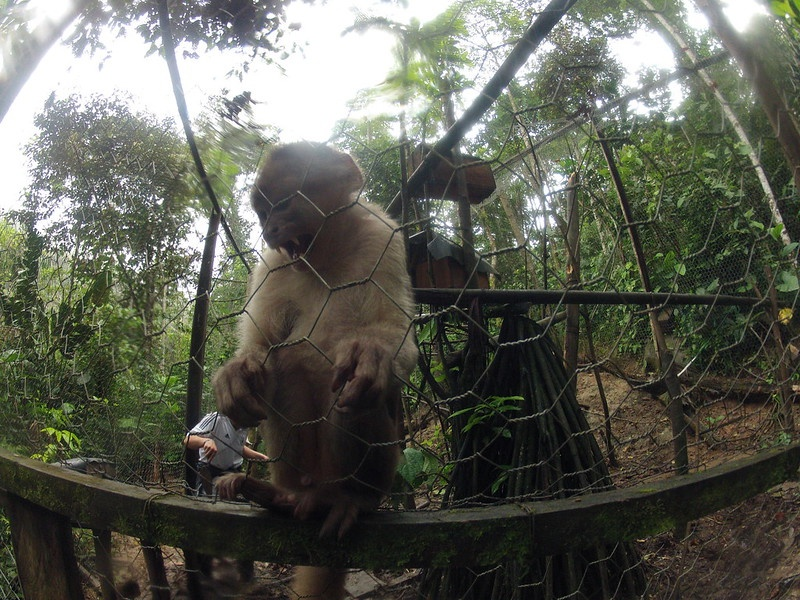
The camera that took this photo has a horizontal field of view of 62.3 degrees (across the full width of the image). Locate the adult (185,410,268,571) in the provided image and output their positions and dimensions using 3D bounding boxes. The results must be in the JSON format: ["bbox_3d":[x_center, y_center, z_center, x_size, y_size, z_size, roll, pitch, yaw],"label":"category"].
[{"bbox_3d":[-1.150,1.175,4.290,0.386,1.192,0.490,6,-4,41],"label":"adult"}]

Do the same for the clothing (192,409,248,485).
[{"bbox_3d":[-1.161,0.880,4.275,0.418,0.238,0.759,-4,-27,-27],"label":"clothing"}]
